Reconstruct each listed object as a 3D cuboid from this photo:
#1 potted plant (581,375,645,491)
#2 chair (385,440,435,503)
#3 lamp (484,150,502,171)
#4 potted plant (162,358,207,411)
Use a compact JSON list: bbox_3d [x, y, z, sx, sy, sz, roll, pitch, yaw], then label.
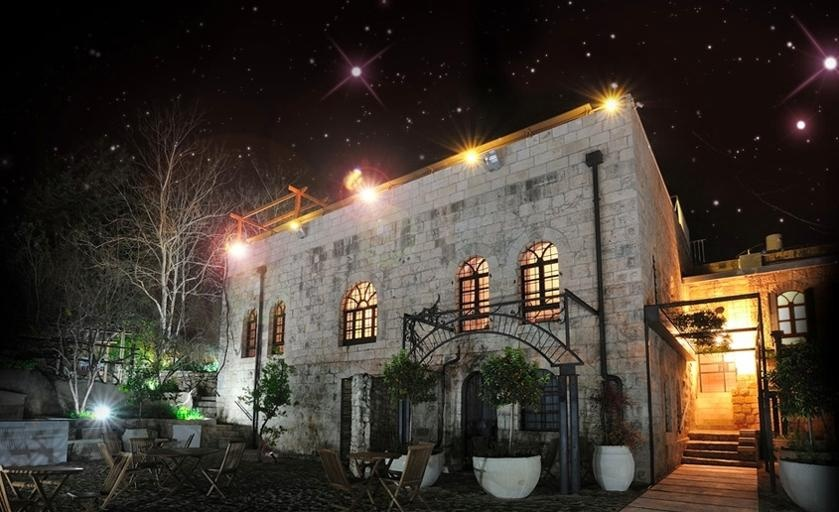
[{"bbox_3d":[5.995,5.449,18.653,1.384,3.423,0.896,-4,-16,13],"label":"potted plant"},{"bbox_3d":[-0.245,6.351,17.405,1.358,1.703,2.741,0,-17,-4],"label":"chair"},{"bbox_3d":[2.658,-3.446,21.920,0.633,0.934,0.726,7,-24,0],"label":"lamp"},{"bbox_3d":[-10.824,5.996,27.663,2.119,1.042,2.839,1,-4,-30],"label":"potted plant"}]
